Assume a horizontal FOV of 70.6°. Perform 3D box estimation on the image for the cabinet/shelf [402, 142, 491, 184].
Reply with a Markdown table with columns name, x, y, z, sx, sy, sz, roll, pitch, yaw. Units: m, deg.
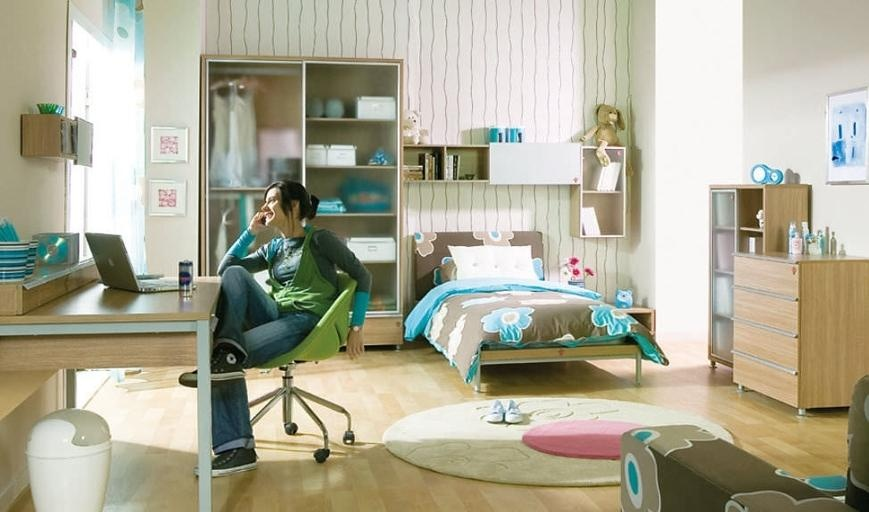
| name | x | y | z | sx | sy | sz | roll | pitch | yaw |
| --- | --- | --- | --- | --- | --- | --- | --- | --- | --- |
| cabinet/shelf | 0.128 | -1.038 | 6.803 | 0.948 | 0.353 | 0.246 | 0 | 9 | -2 |

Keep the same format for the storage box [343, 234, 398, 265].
| name | x | y | z | sx | sy | sz | roll | pitch | yaw |
| --- | --- | --- | --- | --- | --- | --- | --- | --- | --- |
| storage box | -0.631 | -0.066 | 6.496 | 0.446 | 0.198 | 0.301 | 0 | 2 | -10 |

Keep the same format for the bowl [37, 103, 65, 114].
| name | x | y | z | sx | sy | sz | roll | pitch | yaw |
| --- | --- | --- | --- | --- | --- | --- | --- | --- | --- |
| bowl | -2.411 | -0.924 | 3.879 | 0.139 | 0.048 | 0.132 | 0 | -3 | 0 |

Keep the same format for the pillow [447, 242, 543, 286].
| name | x | y | z | sx | sy | sz | roll | pitch | yaw |
| --- | --- | --- | --- | --- | --- | --- | --- | --- | --- |
| pillow | 0.695 | 0.022 | 6.948 | 0.868 | 0.169 | 0.597 | -6 | -9 | 45 |

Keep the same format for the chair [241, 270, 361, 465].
| name | x | y | z | sx | sy | sz | roll | pitch | yaw |
| --- | --- | --- | --- | --- | --- | --- | --- | --- | --- |
| chair | -0.979 | 0.760 | 4.263 | 0.880 | 1.060 | 0.878 | 6 | -14 | -39 |

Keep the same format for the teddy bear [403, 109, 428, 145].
| name | x | y | z | sx | sy | sz | roll | pitch | yaw |
| --- | --- | --- | --- | --- | --- | --- | --- | --- | --- |
| teddy bear | -0.215 | -1.421 | 6.793 | 0.356 | 0.390 | 0.275 | -5 | 13 | -22 |

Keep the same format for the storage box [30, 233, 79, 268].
| name | x | y | z | sx | sy | sz | roll | pitch | yaw |
| --- | --- | --- | --- | --- | --- | --- | --- | --- | --- |
| storage box | -2.341 | -0.046 | 3.796 | 0.247 | 0.182 | 0.310 | -5 | 10 | -25 |

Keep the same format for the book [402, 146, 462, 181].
| name | x | y | z | sx | sy | sz | roll | pitch | yaw |
| --- | --- | --- | --- | --- | --- | --- | --- | --- | --- |
| book | -0.027 | -1.035 | 6.815 | 0.599 | 0.382 | 0.229 | -1 | 10 | -4 |

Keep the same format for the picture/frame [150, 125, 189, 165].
| name | x | y | z | sx | sy | sz | roll | pitch | yaw |
| --- | --- | --- | --- | --- | --- | --- | --- | --- | --- |
| picture/frame | -2.606 | -1.112 | 6.015 | 0.419 | 0.382 | 0.041 | 1 | 1 | -11 |

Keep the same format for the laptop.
| name | x | y | z | sx | sy | sz | roll | pitch | yaw |
| --- | --- | --- | --- | --- | --- | --- | --- | --- | --- |
| laptop | -1.801 | 0.058 | 3.689 | 0.453 | 0.271 | 0.479 | 1 | 1 | -33 |

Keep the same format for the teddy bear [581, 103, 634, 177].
| name | x | y | z | sx | sy | sz | roll | pitch | yaw |
| --- | --- | --- | --- | --- | --- | --- | --- | --- | --- |
| teddy bear | 2.000 | -1.418 | 7.159 | 0.652 | 0.754 | 0.424 | 1 | 6 | -22 |

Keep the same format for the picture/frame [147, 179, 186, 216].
| name | x | y | z | sx | sy | sz | roll | pitch | yaw |
| --- | --- | --- | --- | --- | --- | --- | --- | --- | --- |
| picture/frame | -2.650 | -0.591 | 6.042 | 0.405 | 0.368 | 0.040 | 1 | 0 | -12 |

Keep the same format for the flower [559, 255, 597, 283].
| name | x | y | z | sx | sy | sz | roll | pitch | yaw |
| --- | --- | --- | --- | --- | --- | --- | --- | --- | --- |
| flower | 1.672 | 0.154 | 7.144 | 0.420 | 0.367 | 0.249 | 0 | -3 | -1 |

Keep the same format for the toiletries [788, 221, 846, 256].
| name | x | y | z | sx | sy | sz | roll | pitch | yaw |
| --- | --- | --- | --- | --- | --- | --- | --- | --- | --- |
| toiletries | 3.162 | -0.153 | 5.118 | 0.431 | 0.309 | 0.303 | -3 | -4 | 39 |

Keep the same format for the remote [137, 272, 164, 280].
| name | x | y | z | sx | sy | sz | roll | pitch | yaw |
| --- | --- | --- | --- | --- | --- | --- | --- | --- | --- |
| remote | -1.906 | 0.137 | 4.139 | 0.137 | 0.029 | 0.126 | 0 | 1 | -8 |

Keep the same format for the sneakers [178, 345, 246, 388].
| name | x | y | z | sx | sy | sz | roll | pitch | yaw |
| --- | --- | --- | --- | --- | --- | --- | --- | --- | --- |
| sneakers | -1.350 | 0.666 | 3.689 | 0.472 | 0.258 | 0.180 | 0 | -2 | -20 |

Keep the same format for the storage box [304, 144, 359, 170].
| name | x | y | z | sx | sy | sz | roll | pitch | yaw |
| --- | --- | --- | --- | --- | --- | --- | --- | --- | --- |
| storage box | -1.077 | -1.056 | 6.424 | 0.518 | 0.220 | 0.175 | -1 | 10 | -4 |

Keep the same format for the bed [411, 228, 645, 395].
| name | x | y | z | sx | sy | sz | roll | pitch | yaw |
| --- | --- | --- | --- | --- | --- | --- | --- | --- | --- |
| bed | 1.072 | 0.673 | 6.318 | 1.518 | 0.960 | 1.996 | -2 | -5 | -4 |

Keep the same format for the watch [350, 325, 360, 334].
| name | x | y | z | sx | sy | sz | roll | pitch | yaw |
| --- | --- | --- | --- | --- | --- | --- | --- | --- | --- |
| watch | -0.534 | 0.495 | 4.151 | 0.054 | 0.050 | 0.012 | -5 | -6 | -19 |

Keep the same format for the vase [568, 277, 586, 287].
| name | x | y | z | sx | sy | sz | roll | pitch | yaw |
| --- | --- | --- | --- | --- | --- | --- | --- | --- | --- |
| vase | 1.632 | 0.286 | 6.986 | 0.128 | 0.077 | 0.127 | 2 | 3 | 40 |
